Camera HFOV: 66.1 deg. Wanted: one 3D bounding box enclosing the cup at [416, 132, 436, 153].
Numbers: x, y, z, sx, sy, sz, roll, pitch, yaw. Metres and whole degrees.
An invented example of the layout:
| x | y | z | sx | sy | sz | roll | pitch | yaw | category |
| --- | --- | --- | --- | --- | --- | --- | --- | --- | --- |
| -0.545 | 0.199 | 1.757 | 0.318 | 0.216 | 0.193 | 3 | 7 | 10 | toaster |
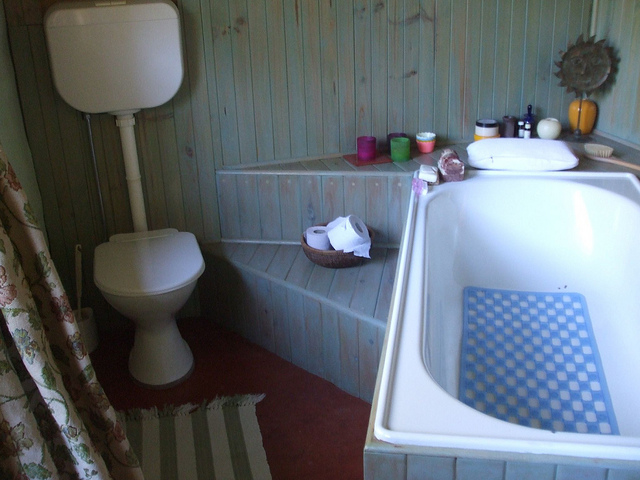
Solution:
| x | y | z | sx | sy | sz | roll | pitch | yaw | category |
| --- | --- | --- | --- | --- | --- | --- | --- | --- | --- |
| 0.554 | -0.513 | 2.580 | 0.086 | 0.086 | 0.100 | 3 | 29 | 8 | cup |

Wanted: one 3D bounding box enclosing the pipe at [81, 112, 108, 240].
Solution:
| x | y | z | sx | sy | sz | roll | pitch | yaw | category |
| --- | --- | --- | --- | --- | --- | --- | --- | --- | --- |
| -1.084 | -0.314 | 2.388 | 0.073 | 0.436 | 0.034 | -15 | 30 | -42 | pipe |

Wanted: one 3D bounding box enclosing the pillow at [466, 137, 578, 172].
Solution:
| x | y | z | sx | sy | sz | roll | pitch | yaw | category |
| --- | --- | --- | --- | --- | --- | --- | --- | --- | --- |
| 0.943 | -0.401 | 2.318 | 0.474 | 0.120 | 0.193 | 2 | 20 | 10 | pillow |

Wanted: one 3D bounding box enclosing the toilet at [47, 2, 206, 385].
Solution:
| x | y | z | sx | sy | sz | roll | pitch | yaw | category |
| --- | --- | --- | --- | --- | --- | --- | --- | --- | --- |
| -0.814 | -0.190 | 2.203 | 0.539 | 1.617 | 0.694 | -10 | 19 | -25 | toilet |

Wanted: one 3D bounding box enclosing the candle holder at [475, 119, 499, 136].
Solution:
| x | y | z | sx | sy | sz | roll | pitch | yaw | category |
| --- | --- | --- | --- | --- | --- | --- | --- | --- | --- |
| 0.904 | -0.603 | 2.634 | 0.134 | 0.076 | 0.100 | -2 | 19 | 0 | candle holder |

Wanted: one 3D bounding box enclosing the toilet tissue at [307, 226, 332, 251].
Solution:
| x | y | z | sx | sy | sz | roll | pitch | yaw | category |
| --- | --- | --- | --- | --- | --- | --- | --- | --- | --- |
| -0.007 | -0.014 | 2.330 | 0.094 | 0.072 | 0.101 | -15 | 25 | -27 | toilet tissue |

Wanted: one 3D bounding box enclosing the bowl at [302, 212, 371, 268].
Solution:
| x | y | z | sx | sy | sz | roll | pitch | yaw | category |
| --- | --- | --- | --- | --- | --- | --- | --- | --- | --- |
| 0.065 | 0.004 | 2.299 | 0.337 | 0.243 | 0.203 | 15 | 25 | 40 | bowl |

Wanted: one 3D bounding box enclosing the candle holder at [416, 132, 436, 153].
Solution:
| x | y | z | sx | sy | sz | roll | pitch | yaw | category |
| --- | --- | --- | --- | --- | --- | --- | --- | --- | --- |
| 0.557 | -0.516 | 2.585 | 0.088 | 0.088 | 0.098 | 16 | 34 | 30 | candle holder |

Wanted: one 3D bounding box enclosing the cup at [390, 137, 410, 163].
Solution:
| x | y | z | sx | sy | sz | roll | pitch | yaw | category |
| --- | --- | --- | --- | --- | --- | --- | --- | --- | --- |
| 0.417 | -0.461 | 2.494 | 0.105 | 0.118 | 0.088 | -4 | 18 | -7 | cup |

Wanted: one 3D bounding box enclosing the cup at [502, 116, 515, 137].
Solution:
| x | y | z | sx | sy | sz | roll | pitch | yaw | category |
| --- | --- | --- | --- | --- | --- | --- | --- | --- | --- |
| 1.010 | -0.604 | 2.627 | 0.056 | 0.093 | 0.059 | -3 | 35 | 2 | cup |

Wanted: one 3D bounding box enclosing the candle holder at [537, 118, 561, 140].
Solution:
| x | y | z | sx | sy | sz | roll | pitch | yaw | category |
| --- | --- | --- | --- | --- | --- | --- | --- | --- | --- |
| 1.204 | -0.591 | 2.610 | 0.101 | 0.119 | 0.120 | 2 | 31 | 9 | candle holder |

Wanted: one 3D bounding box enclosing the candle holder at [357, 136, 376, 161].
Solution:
| x | y | z | sx | sy | sz | roll | pitch | yaw | category |
| --- | --- | --- | --- | --- | --- | --- | --- | --- | --- |
| 0.233 | -0.467 | 2.544 | 0.098 | 0.111 | 0.102 | 11 | 47 | 14 | candle holder |

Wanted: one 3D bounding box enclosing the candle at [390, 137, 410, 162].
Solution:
| x | y | z | sx | sy | sz | roll | pitch | yaw | category |
| --- | --- | --- | --- | --- | --- | --- | --- | --- | --- |
| 0.406 | -0.456 | 2.469 | 0.088 | 0.115 | 0.113 | 1 | 32 | 13 | candle |

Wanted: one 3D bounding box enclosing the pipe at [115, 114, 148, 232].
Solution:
| x | y | z | sx | sy | sz | roll | pitch | yaw | category |
| --- | --- | --- | --- | --- | --- | --- | --- | --- | --- |
| -0.905 | -0.307 | 2.342 | 0.099 | 0.483 | 0.081 | -9 | 27 | -28 | pipe |

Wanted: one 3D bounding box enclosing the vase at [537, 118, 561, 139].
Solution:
| x | y | z | sx | sy | sz | roll | pitch | yaw | category |
| --- | --- | --- | --- | --- | --- | --- | --- | --- | --- |
| 1.215 | -0.590 | 2.602 | 0.114 | 0.098 | 0.097 | -17 | 24 | -38 | vase |

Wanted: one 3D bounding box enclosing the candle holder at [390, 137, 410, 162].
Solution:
| x | y | z | sx | sy | sz | roll | pitch | yaw | category |
| --- | --- | --- | --- | --- | --- | --- | --- | --- | --- |
| 0.407 | -0.468 | 2.531 | 0.091 | 0.115 | 0.111 | 10 | 37 | 31 | candle holder |

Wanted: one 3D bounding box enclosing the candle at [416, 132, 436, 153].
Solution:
| x | y | z | sx | sy | sz | roll | pitch | yaw | category |
| --- | --- | --- | --- | --- | --- | --- | --- | --- | --- |
| 0.553 | -0.529 | 2.579 | 0.085 | 0.086 | 0.098 | 9 | 31 | 19 | candle |

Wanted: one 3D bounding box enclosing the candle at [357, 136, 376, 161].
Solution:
| x | y | z | sx | sy | sz | roll | pitch | yaw | category |
| --- | --- | --- | --- | --- | --- | --- | --- | --- | --- |
| 0.250 | -0.476 | 2.540 | 0.084 | 0.107 | 0.140 | 8 | 21 | 27 | candle |

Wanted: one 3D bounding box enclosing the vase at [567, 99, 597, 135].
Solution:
| x | y | z | sx | sy | sz | roll | pitch | yaw | category |
| --- | --- | --- | --- | --- | --- | --- | --- | --- | --- |
| 1.437 | -0.673 | 2.684 | 0.150 | 0.188 | 0.148 | 6 | 20 | 23 | vase |

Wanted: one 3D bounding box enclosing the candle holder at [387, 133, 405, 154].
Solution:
| x | y | z | sx | sy | sz | roll | pitch | yaw | category |
| --- | --- | --- | --- | --- | --- | --- | --- | --- | --- |
| 0.401 | -0.498 | 2.598 | 0.082 | 0.112 | 0.099 | -3 | 32 | 5 | candle holder |

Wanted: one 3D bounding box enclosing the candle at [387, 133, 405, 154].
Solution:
| x | y | z | sx | sy | sz | roll | pitch | yaw | category |
| --- | --- | --- | --- | --- | --- | --- | --- | --- | --- |
| 0.398 | -0.492 | 2.603 | 0.089 | 0.122 | 0.108 | -2 | 35 | 6 | candle |
